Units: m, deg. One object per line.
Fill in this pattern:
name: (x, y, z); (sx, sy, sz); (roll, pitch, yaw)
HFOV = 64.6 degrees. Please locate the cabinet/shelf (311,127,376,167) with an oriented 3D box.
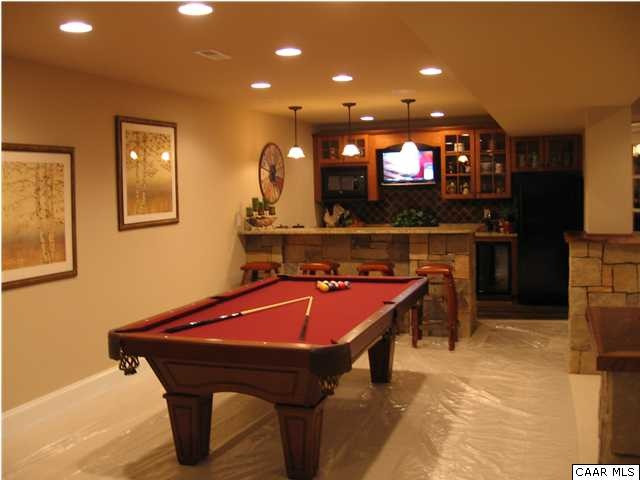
cabinet/shelf: (0.400, -1.420, 8.141); (0.958, 0.571, 0.273); (2, 2, 27)

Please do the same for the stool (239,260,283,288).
stool: (-0.734, 0.379, 6.148); (0.357, 0.314, 0.342); (-1, 1, 14)

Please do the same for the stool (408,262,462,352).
stool: (1.243, 0.728, 5.548); (0.513, 0.834, 0.522); (0, -1, 26)

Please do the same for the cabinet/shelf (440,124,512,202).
cabinet/shelf: (2.357, -1.130, 7.581); (1.074, 1.035, 0.408); (5, 12, 43)

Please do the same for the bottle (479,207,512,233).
bottle: (2.549, -0.282, 7.416); (0.393, 0.341, 0.275); (1, 3, 30)

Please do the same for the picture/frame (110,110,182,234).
picture/frame: (-1.709, -0.657, 5.031); (0.107, 1.059, 0.854); (1, 8, 20)
